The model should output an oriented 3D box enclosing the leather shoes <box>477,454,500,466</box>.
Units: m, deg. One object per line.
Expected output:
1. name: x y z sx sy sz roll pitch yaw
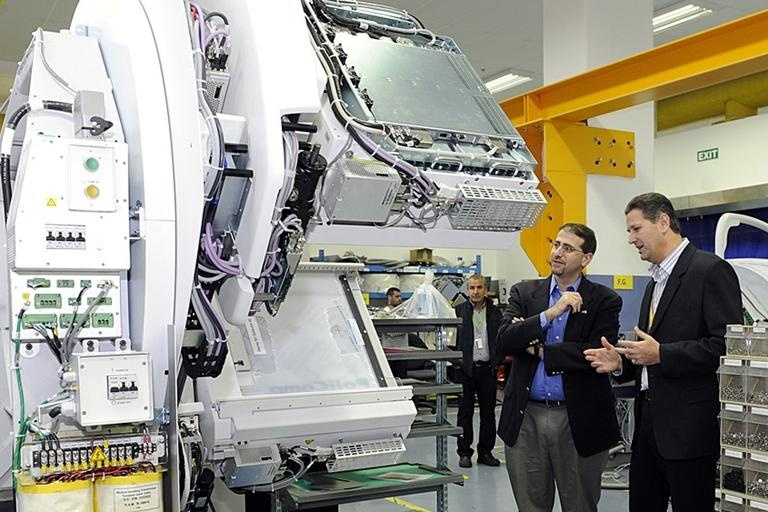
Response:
1. leather shoes: 1.297 2.514 6.965 0.110 0.196 0.297 6 -12 -41
